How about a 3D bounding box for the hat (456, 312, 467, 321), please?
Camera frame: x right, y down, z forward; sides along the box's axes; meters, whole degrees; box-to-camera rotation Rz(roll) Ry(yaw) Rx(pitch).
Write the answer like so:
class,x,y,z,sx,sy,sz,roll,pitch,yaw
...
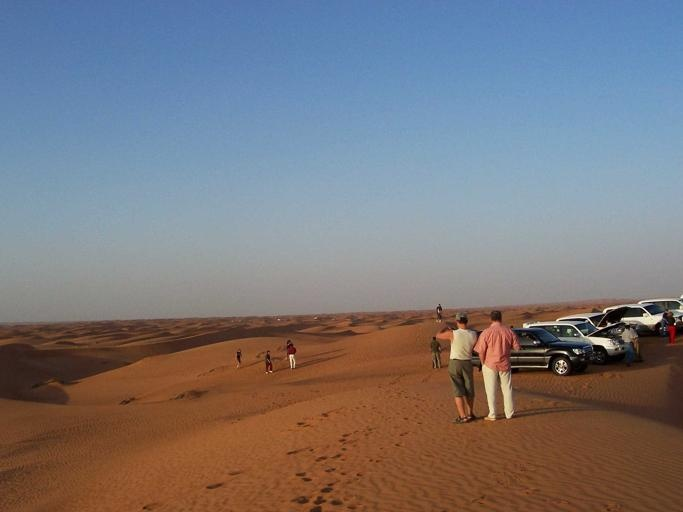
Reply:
class,x,y,z,sx,sy,sz,roll,pitch,yaw
hat,2.945,1.484,13.309,0.256,0.186,0.430,-5,-1,11
